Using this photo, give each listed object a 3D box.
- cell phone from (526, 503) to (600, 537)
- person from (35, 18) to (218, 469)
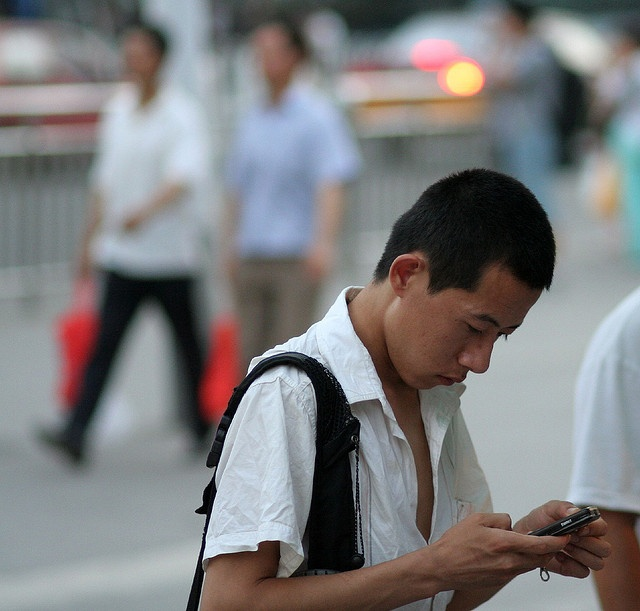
[{"bbox_3d":[0.741,0.630,4.247,0.174,0.052,0.102,-28,-12,11],"label":"cell phone"},{"bbox_3d":[-0.858,-0.288,6.390,0.667,1.629,1.062,0,31,-2],"label":"person"}]
